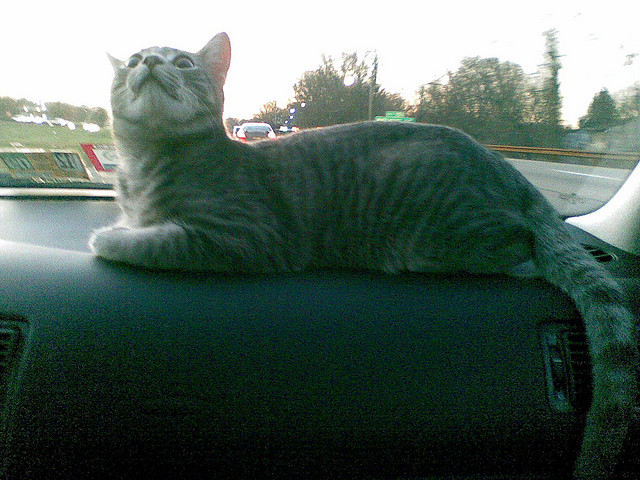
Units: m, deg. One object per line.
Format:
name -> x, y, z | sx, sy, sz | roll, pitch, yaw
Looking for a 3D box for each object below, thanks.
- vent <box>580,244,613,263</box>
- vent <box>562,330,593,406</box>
vent -> 1.176, 0.058, 2.158 | 0.096, 0.016, 0.078 | 18, 14, 11
vent -> 0.878, 0.424, 1.733 | 0.070, 0.224, 0.082 | 2, 7, 1
